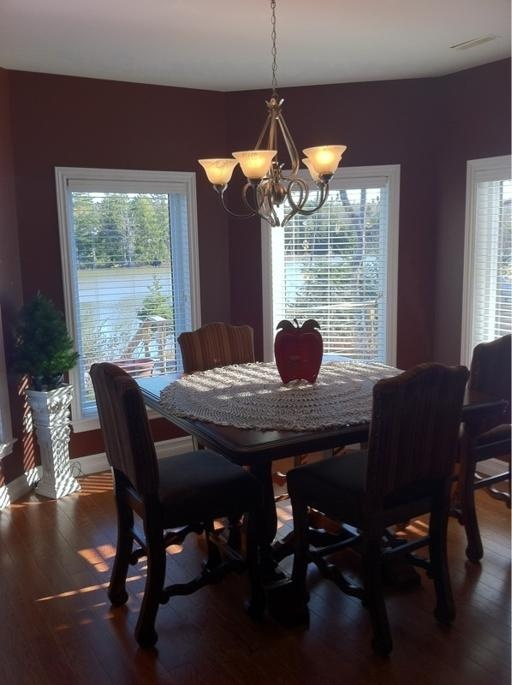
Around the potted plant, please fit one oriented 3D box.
[{"bbox_3d":[-1.178,0.321,3.062,0.332,1.160,0.260,-3,5,-19],"label":"potted plant"}]

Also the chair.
[{"bbox_3d":[0.062,0.518,1.828,1.276,0.931,0.686,0,4,19],"label":"chair"}]
